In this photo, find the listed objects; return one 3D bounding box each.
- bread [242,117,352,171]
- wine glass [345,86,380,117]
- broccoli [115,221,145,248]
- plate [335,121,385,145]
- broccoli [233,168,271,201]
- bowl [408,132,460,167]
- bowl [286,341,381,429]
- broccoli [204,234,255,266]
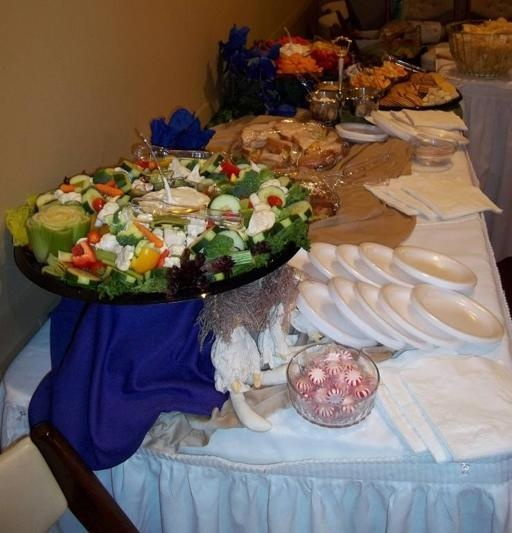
[{"bbox_3d":[0.157,-0.483,1.945,0.409,0.087,0.267,5,39,7],"label":"bread"},{"bbox_3d":[0.526,-0.837,2.463,0.188,0.136,0.189,-1,39,6],"label":"wine glass"},{"bbox_3d":[-0.260,-0.065,1.004,0.055,0.028,0.054,3,63,-6],"label":"broccoli"},{"bbox_3d":[0.470,-0.613,2.230,0.181,0.038,0.162,9,33,3],"label":"plate"},{"bbox_3d":[-0.006,-0.197,1.240,0.070,0.029,0.113,23,50,30],"label":"broccoli"},{"bbox_3d":[0.737,-0.500,2.035,0.174,0.070,0.155,3,34,9],"label":"bowl"},{"bbox_3d":[0.159,0.245,1.037,0.171,0.057,0.161,-2,35,2],"label":"bowl"},{"bbox_3d":[-0.053,-0.031,0.986,0.081,0.027,0.072,8,37,-17],"label":"broccoli"}]
